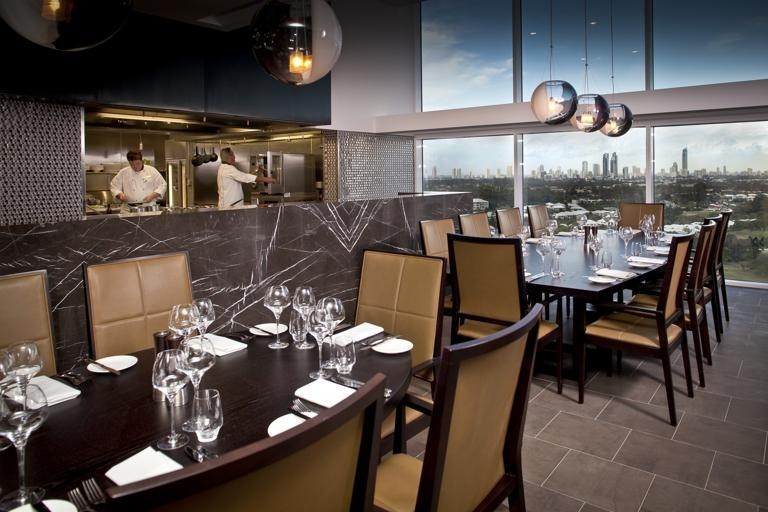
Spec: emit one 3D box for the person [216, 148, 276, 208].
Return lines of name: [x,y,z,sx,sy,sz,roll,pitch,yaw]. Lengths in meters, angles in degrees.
person: [-2.080,-1.109,7.078,0.536,0.789,0.481,6,12,41]

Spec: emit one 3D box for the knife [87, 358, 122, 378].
knife: [-1.265,0.511,2.257,0.158,0.017,0.017,16,15,26]

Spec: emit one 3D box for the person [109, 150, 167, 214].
person: [-3.085,-0.927,6.194,0.651,0.734,0.400,-4,9,-14]

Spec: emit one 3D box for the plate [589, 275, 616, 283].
plate: [1.595,0.177,3.641,0.171,0.032,0.134,1,8,15]

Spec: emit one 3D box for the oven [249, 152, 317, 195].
oven: [-1.482,-1.322,7.851,0.594,0.597,0.858,-1,14,-9]

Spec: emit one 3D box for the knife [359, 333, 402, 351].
knife: [-0.039,0.426,2.572,0.063,0.017,0.300,13,9,24]

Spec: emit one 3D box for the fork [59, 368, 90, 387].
fork: [-1.356,0.527,2.184,0.115,0.030,0.068,16,16,33]
